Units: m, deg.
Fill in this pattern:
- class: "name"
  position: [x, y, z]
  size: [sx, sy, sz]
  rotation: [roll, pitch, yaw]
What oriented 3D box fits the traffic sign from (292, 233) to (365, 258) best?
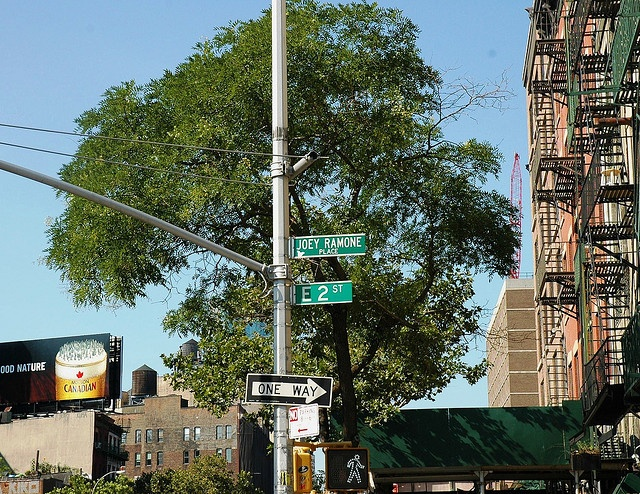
- class: "traffic sign"
  position: [0.190, -0.055, 58.664]
  size: [2.835, 0.884, 0.346]
  rotation: [-4, -14, 5]
